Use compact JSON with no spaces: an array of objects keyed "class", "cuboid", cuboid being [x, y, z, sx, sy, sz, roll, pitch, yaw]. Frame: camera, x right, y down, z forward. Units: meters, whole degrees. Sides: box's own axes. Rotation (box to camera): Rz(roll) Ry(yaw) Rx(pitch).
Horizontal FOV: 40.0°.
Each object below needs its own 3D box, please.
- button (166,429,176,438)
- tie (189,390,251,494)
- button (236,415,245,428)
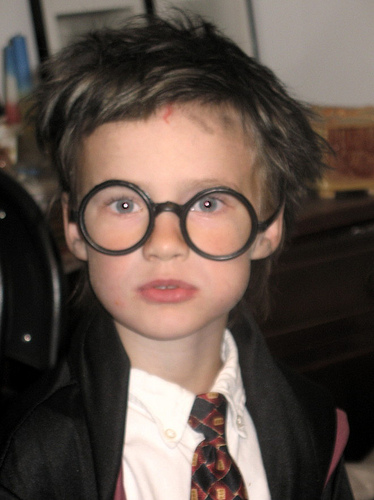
[{"class":"button","cuboid":[-0.024,0.277,0.773,0.014,0.012,0.003,-6,-9,1]},{"class":"tie","cuboid":[0.055,0.282,0.771,0.084,0.146,0.041,-1,-24,-9]},{"class":"button","cuboid":[0.087,0.277,0.830,0.021,0.018,0.006,1,-1,-12]}]
